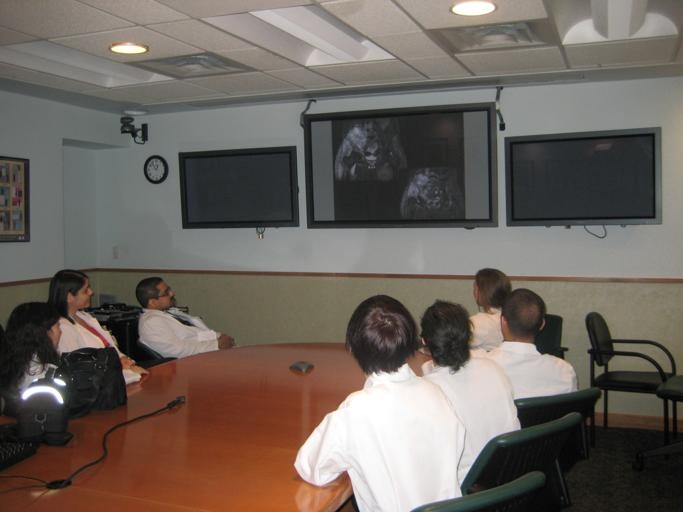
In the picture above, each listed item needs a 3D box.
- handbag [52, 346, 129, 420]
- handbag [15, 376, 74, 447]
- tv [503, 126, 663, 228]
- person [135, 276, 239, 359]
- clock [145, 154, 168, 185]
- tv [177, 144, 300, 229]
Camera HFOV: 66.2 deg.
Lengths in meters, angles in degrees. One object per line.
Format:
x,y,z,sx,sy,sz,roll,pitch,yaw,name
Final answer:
-1.262,0.638,2.667,0.291,0.140,0.299,-2,24,-22,handbag
-1.360,0.732,2.357,0.190,0.241,0.241,5,-33,-37,handbag
2.089,-0.672,4.458,0.848,0.616,0.066,0,-1,18,tv
-1.322,0.567,4.736,1.039,0.744,0.638,0,-1,-41,person
-2.166,-1.030,6.156,0.332,0.355,0.049,1,2,25,clock
-1.096,-0.718,5.567,1.229,0.828,0.090,-2,2,0,tv
